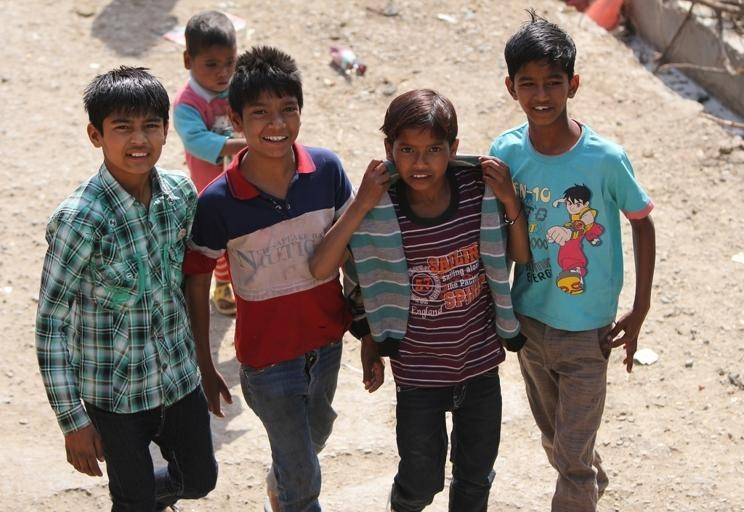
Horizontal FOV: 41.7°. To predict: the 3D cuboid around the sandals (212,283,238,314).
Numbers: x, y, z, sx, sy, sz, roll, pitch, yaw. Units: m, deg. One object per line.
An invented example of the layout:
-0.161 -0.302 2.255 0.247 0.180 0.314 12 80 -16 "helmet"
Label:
-1.114 0.319 7.401 0.194 0.159 0.386 -5 11 -24 "sandals"
